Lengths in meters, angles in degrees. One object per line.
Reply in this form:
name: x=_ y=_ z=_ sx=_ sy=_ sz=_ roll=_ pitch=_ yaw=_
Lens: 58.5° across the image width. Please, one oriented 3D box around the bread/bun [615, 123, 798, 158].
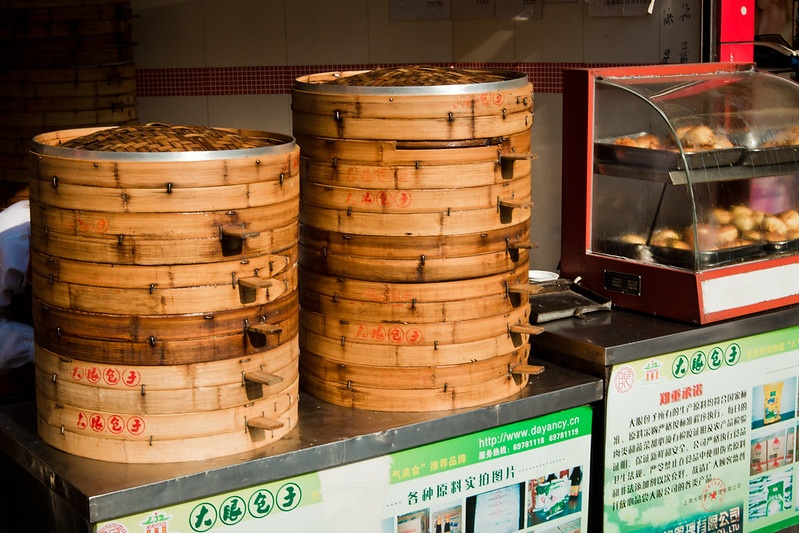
bread/bun: x=1.870 y=-0.761 z=4.249 sx=1.100 sy=0.169 sz=0.401 roll=-6 pitch=14 yaw=-12
